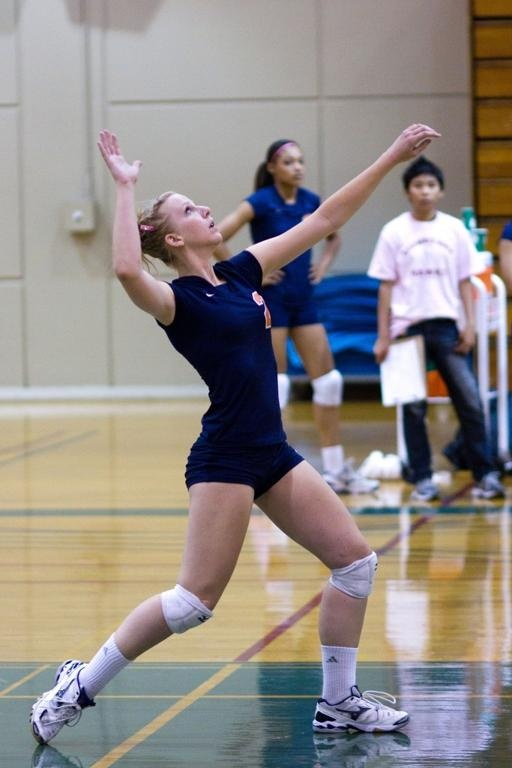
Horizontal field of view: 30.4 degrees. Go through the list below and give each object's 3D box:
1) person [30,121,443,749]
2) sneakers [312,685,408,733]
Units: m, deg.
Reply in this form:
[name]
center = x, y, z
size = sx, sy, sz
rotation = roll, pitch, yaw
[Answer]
[person]
center = -0.033, 0.083, 1.586
size = 0.722, 1.022, 0.281
rotation = -3, 6, -16
[sneakers]
center = 0.173, 0.556, 1.633
size = 0.202, 0.083, 0.065
rotation = -1, 0, 2
